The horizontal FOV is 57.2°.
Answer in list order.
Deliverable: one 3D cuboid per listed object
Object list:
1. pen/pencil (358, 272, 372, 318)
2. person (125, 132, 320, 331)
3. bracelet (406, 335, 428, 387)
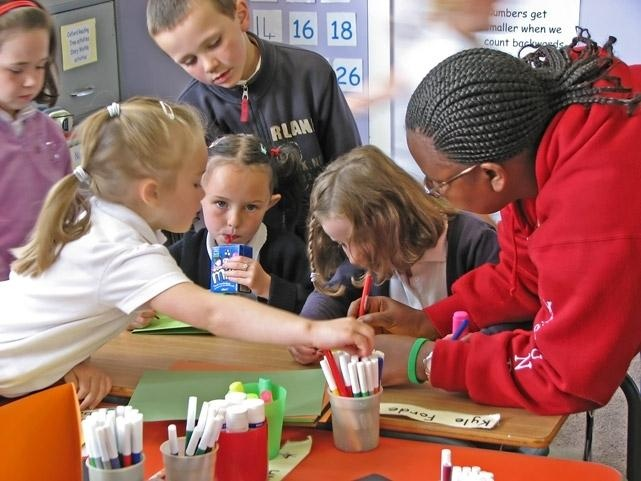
[{"bbox_3d":[0.115,0.141,1.522,0.013,0.112,0.012,12,13,15],"label":"pen/pencil"},{"bbox_3d":[-0.244,-0.075,1.952,0.602,0.824,0.564,1,13,4],"label":"person"},{"bbox_3d":[0.196,0.251,1.221,0.026,0.077,0.065,3,-8,7],"label":"bracelet"}]
